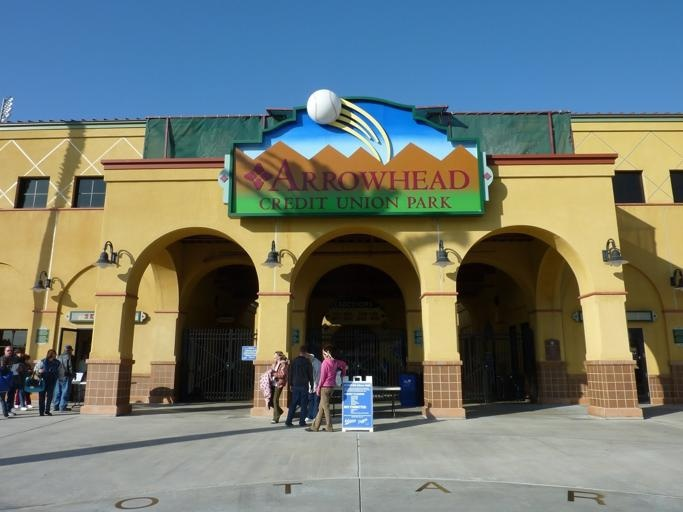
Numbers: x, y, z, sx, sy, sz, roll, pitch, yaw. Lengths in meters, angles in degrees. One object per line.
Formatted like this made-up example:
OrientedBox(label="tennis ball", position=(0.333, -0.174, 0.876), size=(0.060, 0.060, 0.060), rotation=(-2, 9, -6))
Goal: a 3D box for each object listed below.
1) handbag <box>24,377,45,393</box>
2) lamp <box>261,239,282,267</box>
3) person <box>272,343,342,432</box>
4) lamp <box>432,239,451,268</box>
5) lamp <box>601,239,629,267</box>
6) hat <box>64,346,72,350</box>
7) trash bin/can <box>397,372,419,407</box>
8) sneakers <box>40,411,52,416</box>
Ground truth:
OrientedBox(label="handbag", position=(-8.708, 3.663, 15.786), size=(0.504, 0.402, 0.286), rotation=(-1, -12, -2))
OrientedBox(label="lamp", position=(-1.781, 0.003, 14.603), size=(0.552, 0.645, 0.583), rotation=(2, -26, -6))
OrientedBox(label="person", position=(-0.595, 3.075, 12.981), size=(0.791, 1.963, 1.525), rotation=(10, -19, -34))
OrientedBox(label="lamp", position=(2.659, -0.131, 14.776), size=(0.401, 0.869, 0.787), rotation=(-3, -16, 10))
OrientedBox(label="lamp", position=(7.177, -0.150, 14.759), size=(0.442, 0.804, 0.488), rotation=(-5, -16, 16))
OrientedBox(label="hat", position=(-8.139, 2.754, 16.576), size=(0.204, 0.150, 0.278), rotation=(1, 2, -6))
OrientedBox(label="trash bin/can", position=(2.113, 4.167, 17.164), size=(0.605, 1.024, 0.421), rotation=(-2, -15, 3))
OrientedBox(label="sneakers", position=(-8.000, 4.287, 15.103), size=(0.243, 0.127, 0.424), rotation=(7, -18, -27))
